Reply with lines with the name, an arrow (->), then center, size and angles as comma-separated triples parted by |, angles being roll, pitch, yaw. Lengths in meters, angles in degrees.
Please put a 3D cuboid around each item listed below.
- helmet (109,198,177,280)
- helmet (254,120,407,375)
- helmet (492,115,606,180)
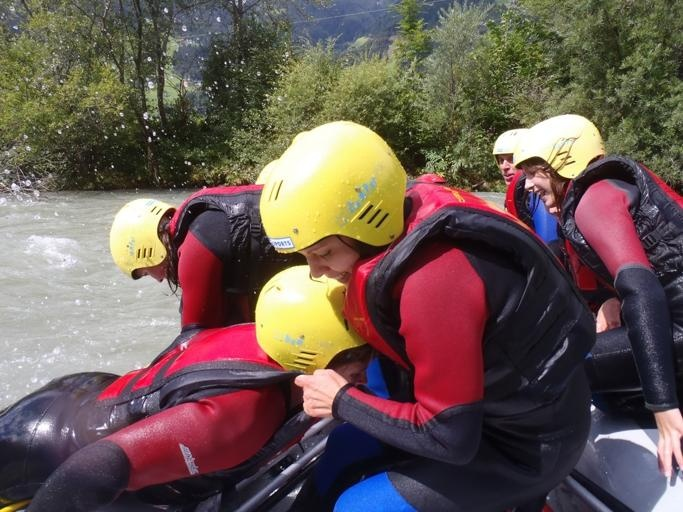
helmet -> -1.233, -0.137, 3.649 | 0.454, 0.524, 0.387 | 10, 20, 20
helmet -> -0.032, -0.165, 2.099 | 0.591, 0.474, 0.424 | -40, 24, -8
helmet -> 1.272, -0.678, 3.342 | 0.516, 0.411, 0.396 | -32, 1, 18
